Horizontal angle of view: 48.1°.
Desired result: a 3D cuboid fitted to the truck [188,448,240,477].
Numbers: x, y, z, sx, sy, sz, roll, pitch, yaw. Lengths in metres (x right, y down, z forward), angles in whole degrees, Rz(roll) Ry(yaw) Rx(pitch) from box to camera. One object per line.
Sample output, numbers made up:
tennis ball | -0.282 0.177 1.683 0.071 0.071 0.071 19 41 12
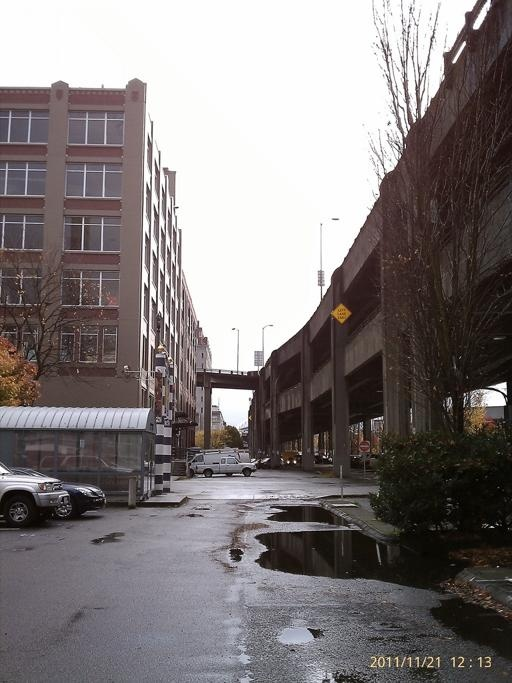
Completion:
truck | -4.247 11.274 55.467 3.747 3.091 2.676 1 -6 -3

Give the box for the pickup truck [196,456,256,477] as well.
pickup truck | -3.291 11.697 54.806 4.035 2.044 2.591 -1 -7 -1
